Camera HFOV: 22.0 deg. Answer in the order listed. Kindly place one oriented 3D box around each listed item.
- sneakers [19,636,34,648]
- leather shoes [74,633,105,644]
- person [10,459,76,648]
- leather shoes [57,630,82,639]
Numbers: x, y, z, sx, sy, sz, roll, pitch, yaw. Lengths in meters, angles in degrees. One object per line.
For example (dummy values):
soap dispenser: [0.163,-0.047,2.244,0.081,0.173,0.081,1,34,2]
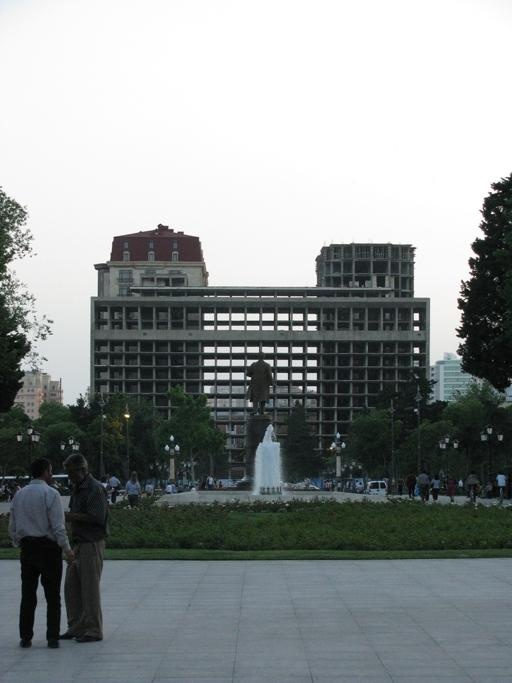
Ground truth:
sneakers: [-2.288,2.972,13.039,0.106,0.122,0.278,2,-2,-6]
leather shoes: [-1.698,3.003,13.308,0.272,0.119,0.095,9,-14,-3]
person: [-2.199,2.118,13.346,0.631,1.888,0.646,2,-7,-12]
leather shoes: [-1.931,3.017,13.561,0.239,0.100,0.084,6,-18,9]
